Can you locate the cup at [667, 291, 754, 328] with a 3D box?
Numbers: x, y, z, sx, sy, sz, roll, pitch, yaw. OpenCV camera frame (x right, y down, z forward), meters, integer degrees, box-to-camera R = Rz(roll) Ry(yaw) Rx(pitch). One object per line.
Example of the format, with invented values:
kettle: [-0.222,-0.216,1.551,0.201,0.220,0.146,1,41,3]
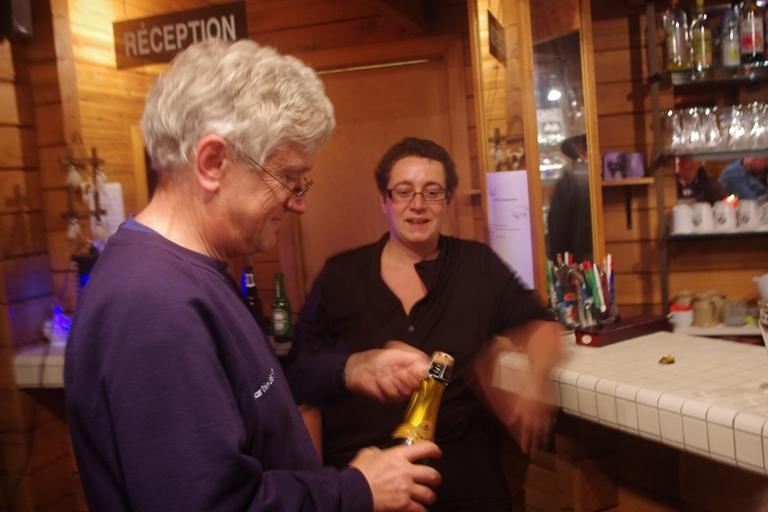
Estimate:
cup: [2.025,0.339,3.817,0.378,0.142,0.284,0,1,3]

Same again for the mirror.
mirror: [0.943,-0.582,3.224,0.316,1.594,0.069,-6,31,13]

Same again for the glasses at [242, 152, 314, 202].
glasses: [-0.289,-0.219,1.644,0.034,0.143,0.104,-41,-2,-2]
